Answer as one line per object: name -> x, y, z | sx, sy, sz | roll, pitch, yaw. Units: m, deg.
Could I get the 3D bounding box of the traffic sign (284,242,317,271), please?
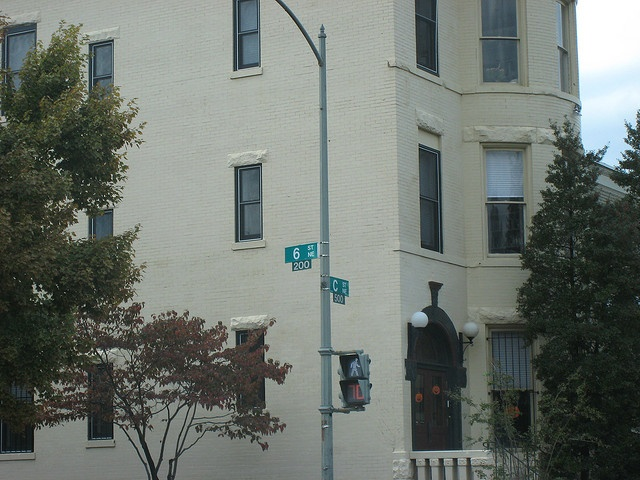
traffic sign -> -0.490, 0.399, 45.024 | 0.680, 0.473, 0.026 | -7, -11, 40

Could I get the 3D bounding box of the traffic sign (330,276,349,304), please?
traffic sign -> 0.383, 1.150, 44.483 | 0.046, 0.450, 0.625 | -9, -16, 29

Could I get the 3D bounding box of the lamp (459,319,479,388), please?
lamp -> 3.786, 2.883, 49.530 | 0.524, 1.742, 0.471 | -7, -15, 17
